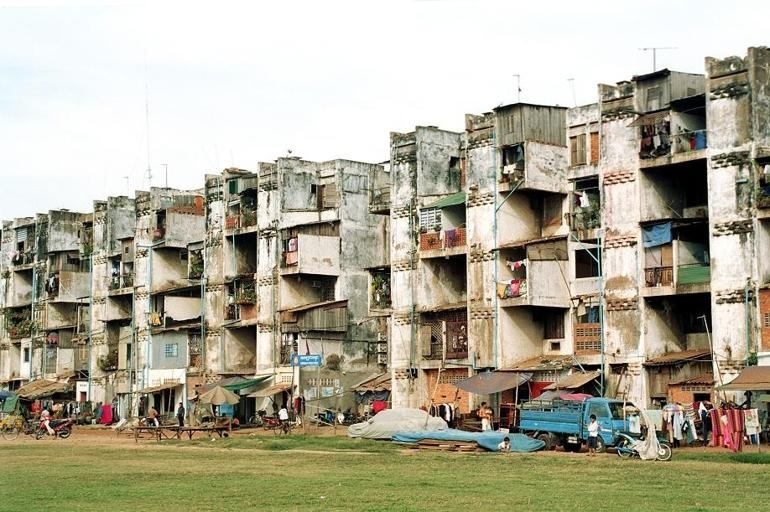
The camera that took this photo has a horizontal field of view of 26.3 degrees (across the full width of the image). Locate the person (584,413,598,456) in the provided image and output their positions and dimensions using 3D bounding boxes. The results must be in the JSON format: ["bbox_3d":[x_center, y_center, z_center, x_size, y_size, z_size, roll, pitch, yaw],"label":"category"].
[{"bbox_3d":[10.089,8.705,80.527,0.602,2.103,1.270,-4,-12,8],"label":"person"}]

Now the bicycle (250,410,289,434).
[{"bbox_3d":[-6.434,9.722,95.908,2.527,1.536,1.280,1,-4,34],"label":"bicycle"}]

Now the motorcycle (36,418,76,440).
[{"bbox_3d":[-18.500,9.709,92.863,1.745,1.171,0.922,2,-9,-2],"label":"motorcycle"}]

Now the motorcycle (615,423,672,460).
[{"bbox_3d":[12.321,9.192,79.552,2.718,1.663,1.559,-7,-13,20],"label":"motorcycle"}]

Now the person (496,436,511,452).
[{"bbox_3d":[5.880,9.451,82.426,0.753,0.773,0.541,6,-15,-17],"label":"person"}]

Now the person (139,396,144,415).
[{"bbox_3d":[-16.408,10.128,111.861,0.411,1.358,0.594,0,-12,-10],"label":"person"}]
